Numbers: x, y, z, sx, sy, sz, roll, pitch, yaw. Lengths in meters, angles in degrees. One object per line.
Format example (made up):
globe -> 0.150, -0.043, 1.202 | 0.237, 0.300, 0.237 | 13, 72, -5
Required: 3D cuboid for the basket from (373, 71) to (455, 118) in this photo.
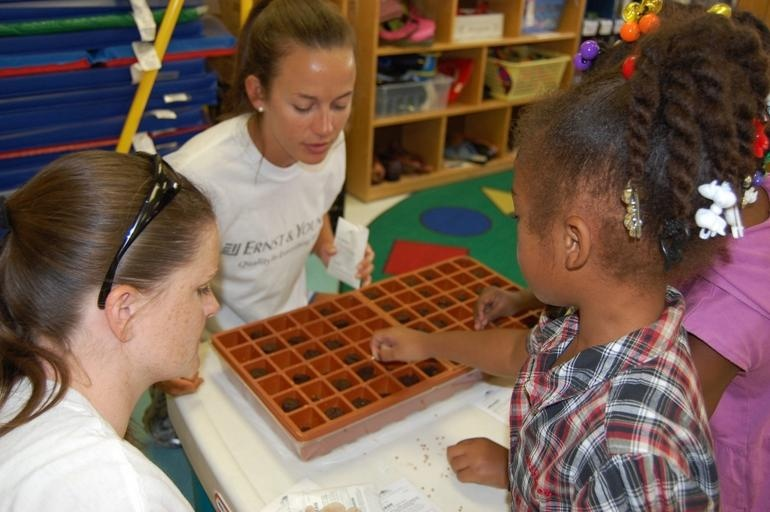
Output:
basket -> 0.230, -1.199, 4.462 | 0.546, 0.194, 0.358 | -13, 27, -22
